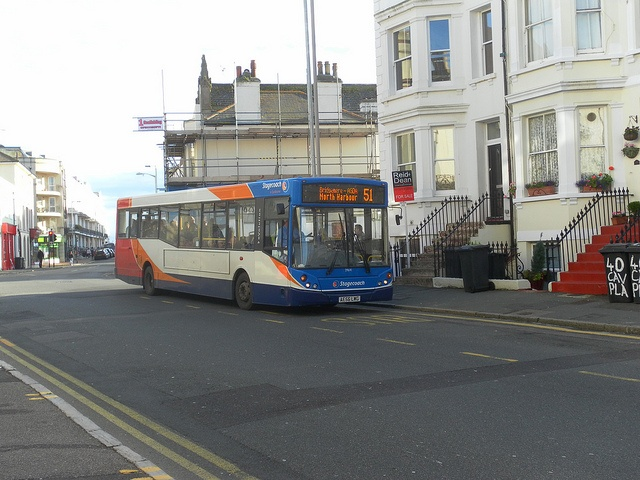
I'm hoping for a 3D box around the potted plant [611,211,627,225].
[{"bbox_3d":[8.188,-0.621,17.355,0.298,0.183,0.347,0,-6,-6],"label":"potted plant"}]

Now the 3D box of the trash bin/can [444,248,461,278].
[{"bbox_3d":[4.233,0.736,20.240,0.691,1.230,0.754,1,7,11],"label":"trash bin/can"}]

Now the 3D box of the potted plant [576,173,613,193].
[{"bbox_3d":[7.867,-1.635,18.101,0.527,0.462,0.726,-4,4,-39],"label":"potted plant"}]

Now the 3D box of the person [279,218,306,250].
[{"bbox_3d":[-0.693,-0.172,15.589,0.692,0.748,0.313,-1,2,14],"label":"person"}]

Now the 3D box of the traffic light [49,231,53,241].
[{"bbox_3d":[-29.531,-0.410,69.547,0.462,1.184,0.963,-2,2,-24],"label":"traffic light"}]

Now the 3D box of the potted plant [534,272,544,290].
[{"bbox_3d":[6.225,1.149,18.072,0.376,0.451,0.391,3,9,13],"label":"potted plant"}]

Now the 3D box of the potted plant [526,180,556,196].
[{"bbox_3d":[6.729,-1.561,19.279,0.283,0.453,1.025,-3,2,-29],"label":"potted plant"}]
